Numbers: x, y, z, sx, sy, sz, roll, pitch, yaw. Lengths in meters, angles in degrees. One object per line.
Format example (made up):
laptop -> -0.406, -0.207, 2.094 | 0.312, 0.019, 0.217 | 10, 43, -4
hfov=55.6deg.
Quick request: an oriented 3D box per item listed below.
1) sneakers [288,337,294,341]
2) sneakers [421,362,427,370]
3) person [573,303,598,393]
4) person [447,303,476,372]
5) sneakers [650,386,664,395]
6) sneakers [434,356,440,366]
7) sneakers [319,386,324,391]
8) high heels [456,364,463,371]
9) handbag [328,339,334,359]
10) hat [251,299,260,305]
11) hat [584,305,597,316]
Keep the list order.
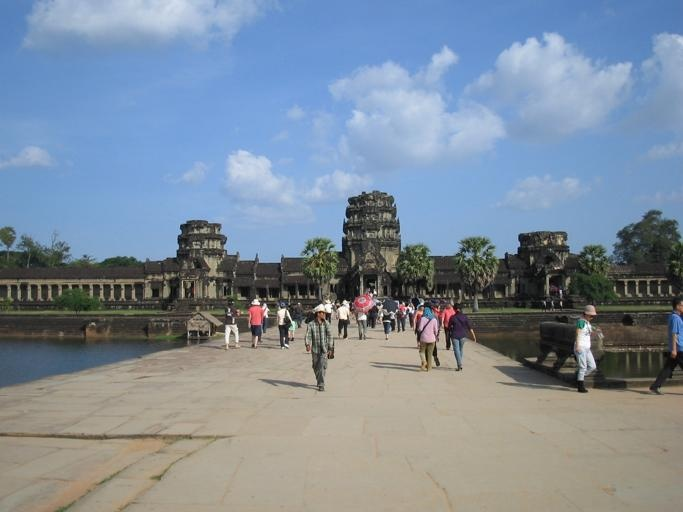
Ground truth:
sneakers -> -2.185, 3.691, 28.683 | 0.288, 0.186, 0.299 | 0, -3, -10
sneakers -> 2.466, 3.268, 19.117 | 0.137, 0.295, 0.331 | 1, 9, 7
person -> 6.069, 2.244, 16.059 | 0.563, 2.130, 1.072 | 3, 9, 21
person -> 3.524, 2.381, 19.153 | 0.910, 1.851, 0.706 | 1, -7, 13
sneakers -> 7.510, 3.212, 15.478 | 0.354, 0.149, 0.119 | -1, 1, -16
sneakers -> 2.967, 3.317, 20.051 | 0.127, 0.156, 0.380 | -6, -38, 3
sneakers -> -0.490, 3.308, 16.191 | 0.135, 0.045, 0.189 | 0, -3, -1
high heels -> 3.528, 3.333, 19.277 | 0.106, 0.130, 0.302 | -2, -15, 2
handbag -> -0.239, 2.321, 16.300 | 0.121, 0.510, 0.404 | 1, 9, 11
hat -> -3.338, 1.826, 25.462 | 0.339, 0.137, 0.376 | 0, -3, 3
hat -> 6.176, 1.354, 15.993 | 0.295, 0.231, 0.402 | -2, 1, 2
